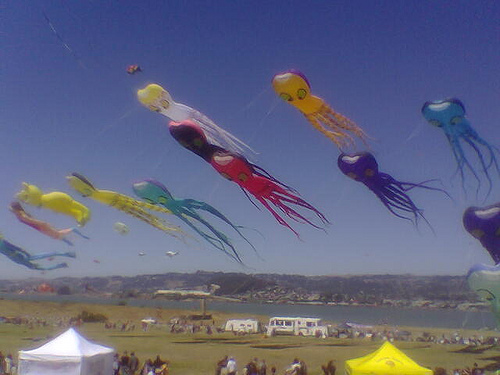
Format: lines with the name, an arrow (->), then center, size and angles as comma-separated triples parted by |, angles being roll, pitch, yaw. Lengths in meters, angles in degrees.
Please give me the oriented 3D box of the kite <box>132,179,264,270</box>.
kite -> -3.644, 1.632, 29.759 | 7.735, 1.773, 1.918 | 28, 12, 5
